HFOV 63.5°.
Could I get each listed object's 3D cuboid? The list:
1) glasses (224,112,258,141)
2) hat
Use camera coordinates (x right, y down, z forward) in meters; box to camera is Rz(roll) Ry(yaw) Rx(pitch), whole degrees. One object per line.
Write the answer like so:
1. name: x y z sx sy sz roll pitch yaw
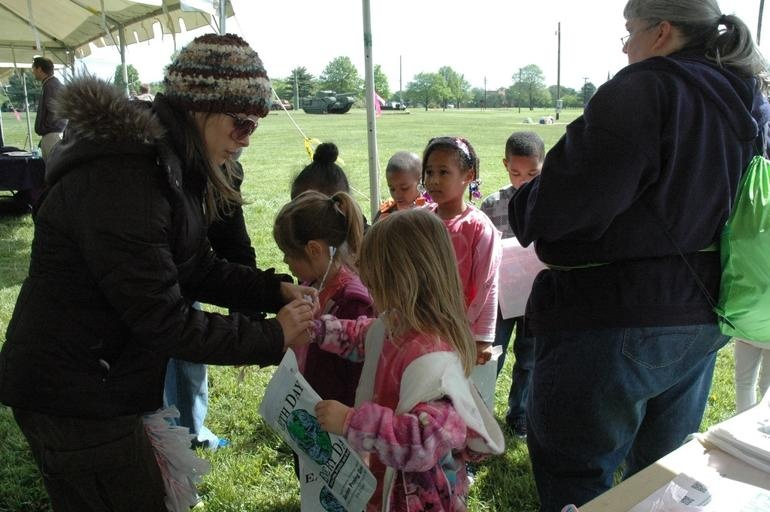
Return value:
1. glasses: -0.614 -0.550 2.662 0.101 0.044 0.100 46 12 9
2. hat: -0.712 -0.803 2.700 0.444 0.325 0.433 5 18 -14
